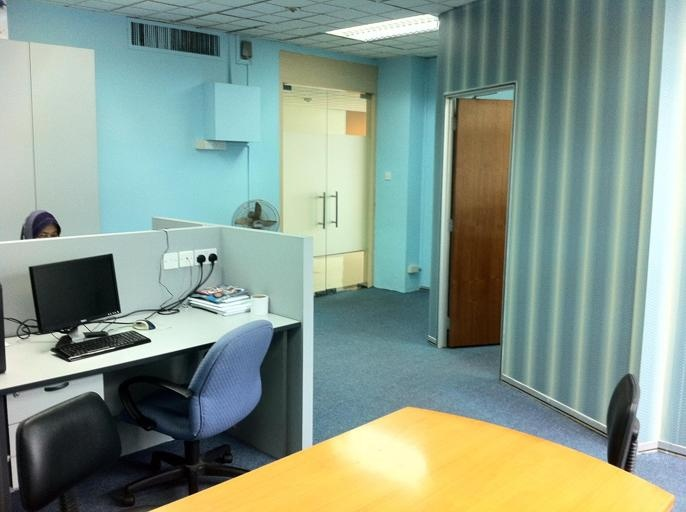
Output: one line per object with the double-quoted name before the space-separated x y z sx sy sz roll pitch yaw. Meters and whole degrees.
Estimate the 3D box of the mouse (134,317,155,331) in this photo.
"mouse" -1.229 0.424 3.412 0.120 0.042 0.067 2 7 31

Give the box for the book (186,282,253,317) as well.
"book" -0.796 0.291 3.696 0.225 0.089 0.295 9 9 33

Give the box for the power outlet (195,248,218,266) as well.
"power outlet" -0.975 0.006 3.927 0.193 0.119 0.044 -12 17 -44

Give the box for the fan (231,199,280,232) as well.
"fan" -0.856 -0.385 5.461 0.446 0.379 0.756 -2 12 -10

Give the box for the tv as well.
"tv" -1.572 0.253 3.185 0.092 0.412 0.472 -10 3 39
